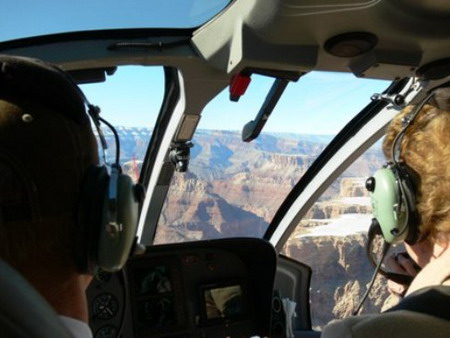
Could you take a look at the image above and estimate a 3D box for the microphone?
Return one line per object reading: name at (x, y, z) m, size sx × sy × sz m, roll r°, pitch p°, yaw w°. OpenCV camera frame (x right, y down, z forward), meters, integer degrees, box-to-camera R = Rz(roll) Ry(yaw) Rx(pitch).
microphone at (0.844, 0.383, 2.200) m, size 0.289 × 0.138 × 0.388 m, roll 33°, pitch 37°, yaw -16°
